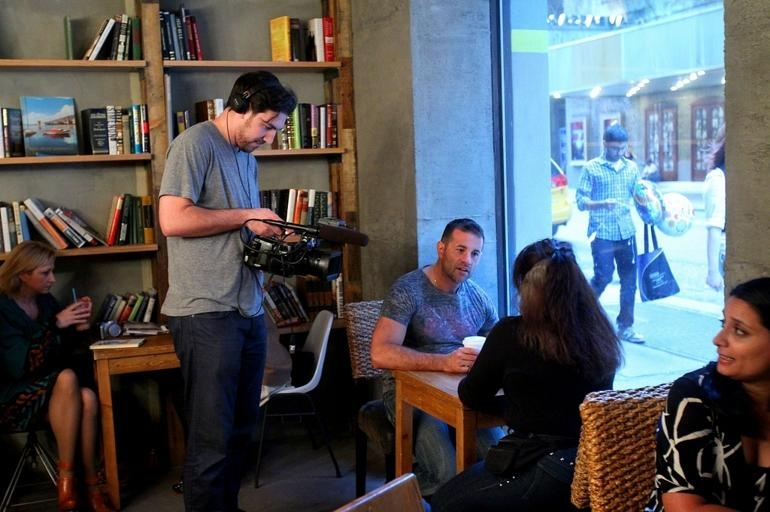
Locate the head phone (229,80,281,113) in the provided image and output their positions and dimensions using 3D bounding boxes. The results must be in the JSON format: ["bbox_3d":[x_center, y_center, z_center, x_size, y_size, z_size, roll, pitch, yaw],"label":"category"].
[{"bbox_3d":[-0.625,-0.767,3.122,0.217,0.095,0.164,-38,0,4],"label":"head phone"}]

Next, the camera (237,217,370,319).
[{"bbox_3d":[-0.388,-0.020,3.031,0.634,0.270,0.468,8,0,10],"label":"camera"}]

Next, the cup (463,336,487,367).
[{"bbox_3d":[0.430,0.455,3.088,0.117,0.087,0.113,-2,4,0],"label":"cup"}]

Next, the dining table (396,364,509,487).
[{"bbox_3d":[0.216,0.775,3.045,0.544,0.474,0.530,0,-1,-30],"label":"dining table"}]

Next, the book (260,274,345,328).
[{"bbox_3d":[-0.572,0.318,4.597,0.440,0.149,0.400,-6,45,-8],"label":"book"}]

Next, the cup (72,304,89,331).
[{"bbox_3d":[-1.874,0.374,4.044,0.063,0.153,0.121,-5,-11,26],"label":"cup"}]

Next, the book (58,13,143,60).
[{"bbox_3d":[-1.834,-1.408,4.225,0.401,0.160,0.521,-5,4,-23],"label":"book"}]

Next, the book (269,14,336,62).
[{"bbox_3d":[-0.574,-1.494,4.550,0.458,0.338,0.347,-2,2,-19],"label":"book"}]

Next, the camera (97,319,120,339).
[{"bbox_3d":[-1.679,0.443,4.057,0.097,0.132,0.167,1,1,36],"label":"camera"}]
